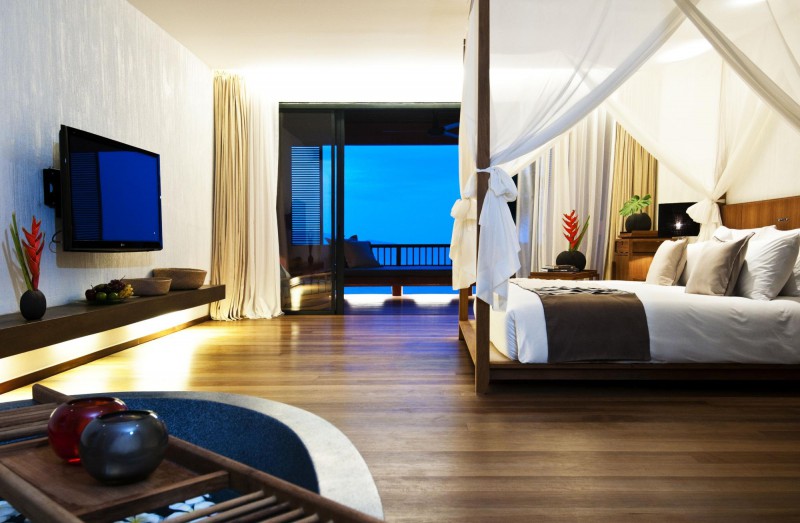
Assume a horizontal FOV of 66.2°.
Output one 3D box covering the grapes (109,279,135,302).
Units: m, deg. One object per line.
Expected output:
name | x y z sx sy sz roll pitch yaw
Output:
grapes | -2.230 0.239 4.959 0.170 0.166 0.178 -1 1 2

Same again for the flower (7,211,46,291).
flower | -2.656 -0.052 4.409 0.229 0.581 0.490 -6 12 -30

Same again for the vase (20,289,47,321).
vase | -2.490 0.292 4.214 0.203 0.233 0.197 -1 7 -25

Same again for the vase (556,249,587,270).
vase | 1.927 -0.015 6.876 0.266 0.186 0.269 2 3 32

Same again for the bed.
bed | 1.899 0.098 5.336 2.697 1.335 2.452 0 10 0

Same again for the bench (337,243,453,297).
bench | -0.015 0.107 9.226 1.568 0.845 2.053 0 10 2

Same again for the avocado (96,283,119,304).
avocado | -2.320 0.256 4.865 0.162 0.139 0.137 -6 12 -32

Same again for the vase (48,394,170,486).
vase | -1.010 0.625 2.157 0.249 0.158 0.402 11 1 -36
